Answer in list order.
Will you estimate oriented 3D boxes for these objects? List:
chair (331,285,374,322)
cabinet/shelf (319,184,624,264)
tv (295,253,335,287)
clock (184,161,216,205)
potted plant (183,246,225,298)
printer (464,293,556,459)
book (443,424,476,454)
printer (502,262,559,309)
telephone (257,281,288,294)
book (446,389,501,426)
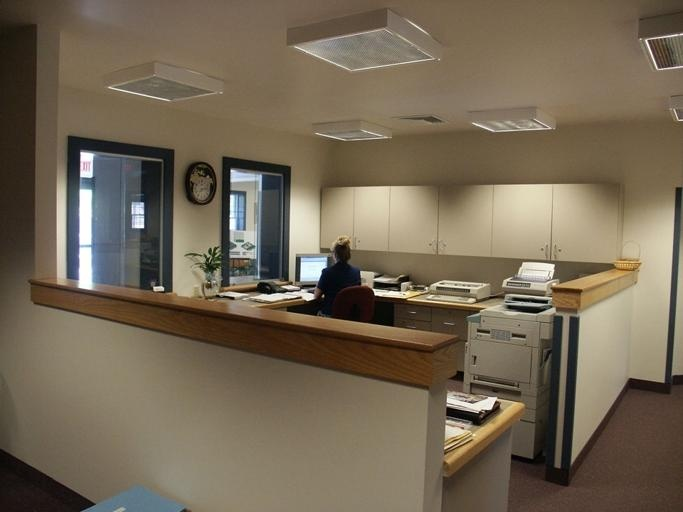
[{"bbox_3d":[0.097,0.435,4.843,0.294,0.475,0.367,0,5,-18],"label":"chair"},{"bbox_3d":[1.406,-0.433,5.747,3.196,0.996,0.290,8,10,23],"label":"cabinet/shelf"},{"bbox_3d":[-0.353,0.112,6.319,0.590,0.574,0.341,0,6,-9],"label":"tv"},{"bbox_3d":[-1.499,-0.764,5.290,0.057,0.460,0.429,7,8,27],"label":"clock"},{"bbox_3d":[-1.368,0.154,5.228,0.470,0.487,0.509,-4,12,-38],"label":"potted plant"},{"bbox_3d":[1.344,0.972,4.494,0.978,1.641,0.923,2,0,30],"label":"printer"},{"bbox_3d":[0.528,0.809,2.219,0.126,0.056,0.284,6,10,16],"label":"book"},{"bbox_3d":[1.699,0.275,4.478,0.371,0.394,0.522,0,4,36],"label":"printer"},{"bbox_3d":[-0.816,0.348,5.489,0.206,0.084,0.165,3,4,34],"label":"telephone"},{"bbox_3d":[0.643,0.763,2.509,0.215,0.056,0.218,3,9,36],"label":"book"}]
